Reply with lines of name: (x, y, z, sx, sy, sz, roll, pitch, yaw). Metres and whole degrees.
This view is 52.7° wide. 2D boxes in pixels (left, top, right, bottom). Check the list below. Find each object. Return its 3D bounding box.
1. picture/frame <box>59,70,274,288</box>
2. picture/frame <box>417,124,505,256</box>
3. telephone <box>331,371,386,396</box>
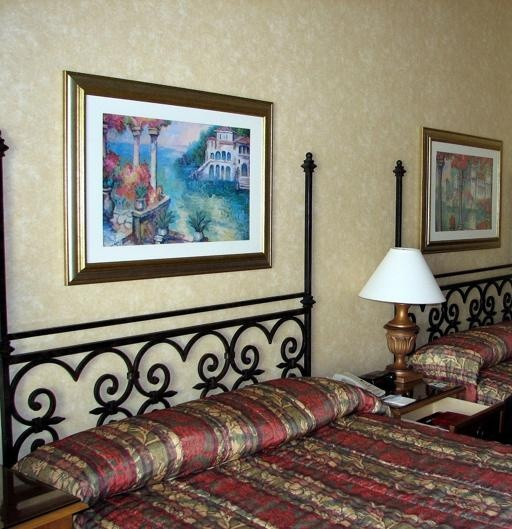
picture/frame: (-0.336, -0.309, 1.841, 1.014, 0.629, 0.022, -4, 9, -42)
picture/frame: (1.296, -0.486, 3.320, 1.046, 0.647, 0.026, -6, 10, -39)
telephone: (0.460, 0.529, 2.304, 0.175, 0.041, 0.174, 4, 6, -41)
